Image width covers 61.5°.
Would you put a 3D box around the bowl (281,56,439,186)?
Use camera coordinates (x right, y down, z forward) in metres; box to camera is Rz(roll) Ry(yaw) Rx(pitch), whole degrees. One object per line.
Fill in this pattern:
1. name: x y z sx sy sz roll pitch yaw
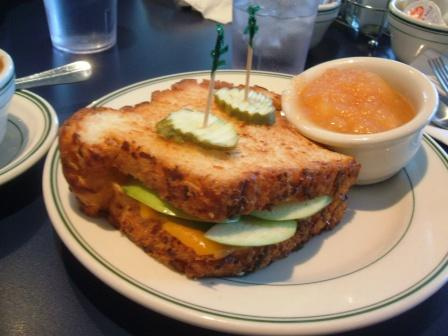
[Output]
1. bowl: 0.661 -0.195 1.916 0.683 0.383 0.690 -3 43 3

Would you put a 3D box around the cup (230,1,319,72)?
1. cup: 0.291 -0.880 2.530 0.483 0.519 0.455 -5 26 3

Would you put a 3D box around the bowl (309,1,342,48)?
1. bowl: 0.723 -1.088 2.826 0.180 0.350 0.140 22 32 37
